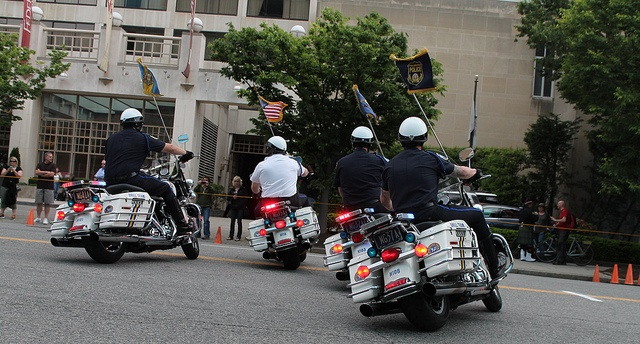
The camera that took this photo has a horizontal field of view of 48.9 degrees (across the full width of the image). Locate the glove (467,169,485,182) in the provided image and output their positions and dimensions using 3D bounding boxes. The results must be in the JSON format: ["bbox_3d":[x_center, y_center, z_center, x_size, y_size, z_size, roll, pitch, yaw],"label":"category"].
[{"bbox_3d":[5.929,0.054,26.698,0.433,0.249,0.561,-23,7,34],"label":"glove"}]

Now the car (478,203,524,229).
[{"bbox_3d":[10.727,2.605,41.788,3.677,1.418,2.039,3,-9,7],"label":"car"}]

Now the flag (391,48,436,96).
[{"bbox_3d":[4.330,-4.573,31.551,1.608,1.710,0.801,3,-1,29],"label":"flag"}]

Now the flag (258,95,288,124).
[{"bbox_3d":[-2.487,-3.549,38.647,2.061,2.072,0.177,-6,3,8],"label":"flag"}]

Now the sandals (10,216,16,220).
[{"bbox_3d":[-15.699,2.299,36.210,0.158,0.174,0.436,2,-9,-9],"label":"sandals"}]

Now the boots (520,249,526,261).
[{"bbox_3d":[11.132,4.514,38.835,0.362,0.480,0.300,3,-1,37],"label":"boots"}]
